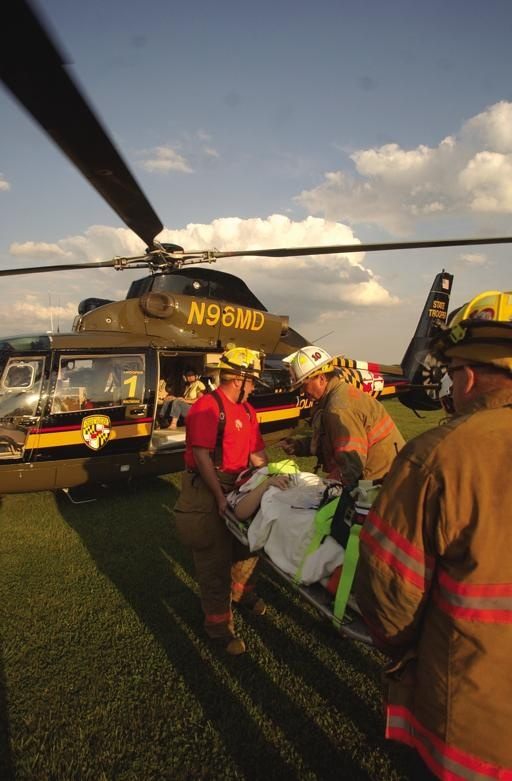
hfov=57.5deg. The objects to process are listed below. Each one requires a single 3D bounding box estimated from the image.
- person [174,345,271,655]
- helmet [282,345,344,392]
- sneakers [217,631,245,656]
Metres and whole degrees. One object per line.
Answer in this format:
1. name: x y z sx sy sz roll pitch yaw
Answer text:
1. person: -0.235 0.715 3.125 0.561 1.987 0.679 3 6 1
2. helmet: 0.317 -0.152 3.389 0.347 0.204 0.414 -37 11 -32
3. sneakers: -0.166 1.647 2.995 0.073 0.159 0.091 -25 -16 -40
